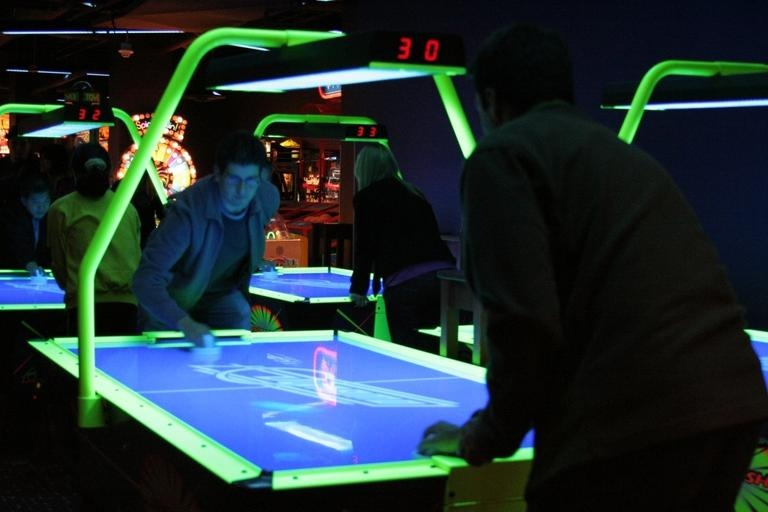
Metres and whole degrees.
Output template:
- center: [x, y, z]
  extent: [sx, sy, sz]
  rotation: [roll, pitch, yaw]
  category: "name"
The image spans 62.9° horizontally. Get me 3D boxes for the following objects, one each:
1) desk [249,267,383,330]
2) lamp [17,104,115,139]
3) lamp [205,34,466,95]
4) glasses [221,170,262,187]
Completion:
- center: [-0.578, 0.331, 5.330]
  extent: [0.596, 0.231, 1.038]
  rotation: [-1, 13, -30]
  category: "desk"
- center: [-2.783, -1.223, 5.484]
  extent: [0.439, 0.120, 0.987]
  rotation: [1, -7, -35]
  category: "lamp"
- center: [-0.243, -0.809, 2.644]
  extent: [1.231, 0.178, 0.289]
  rotation: [5, 6, 40]
  category: "lamp"
- center: [-0.670, -0.360, 2.974]
  extent: [0.166, 0.065, 0.057]
  rotation: [-1, 5, -16]
  category: "glasses"
